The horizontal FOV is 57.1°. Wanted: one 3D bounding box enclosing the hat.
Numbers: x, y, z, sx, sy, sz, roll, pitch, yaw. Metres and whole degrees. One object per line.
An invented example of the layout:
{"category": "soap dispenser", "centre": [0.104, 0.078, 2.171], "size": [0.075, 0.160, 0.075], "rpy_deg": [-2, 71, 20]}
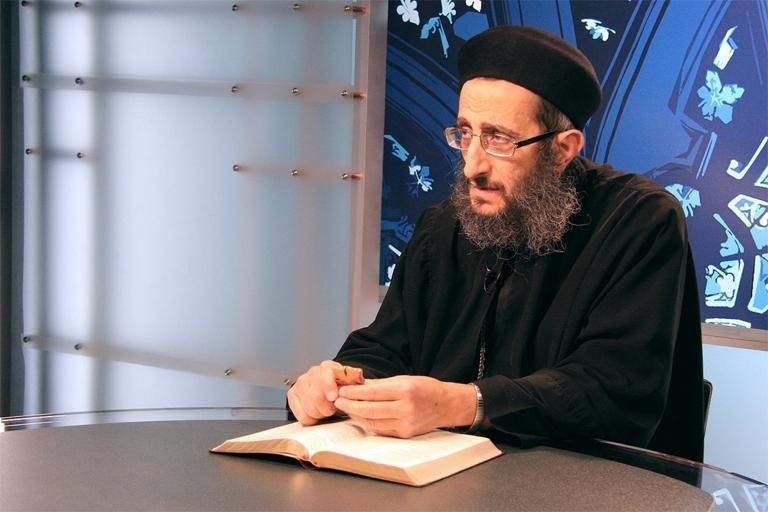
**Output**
{"category": "hat", "centre": [0.577, -0.804, 3.016], "size": [0.517, 0.275, 0.520], "rpy_deg": [15, -1, -13]}
